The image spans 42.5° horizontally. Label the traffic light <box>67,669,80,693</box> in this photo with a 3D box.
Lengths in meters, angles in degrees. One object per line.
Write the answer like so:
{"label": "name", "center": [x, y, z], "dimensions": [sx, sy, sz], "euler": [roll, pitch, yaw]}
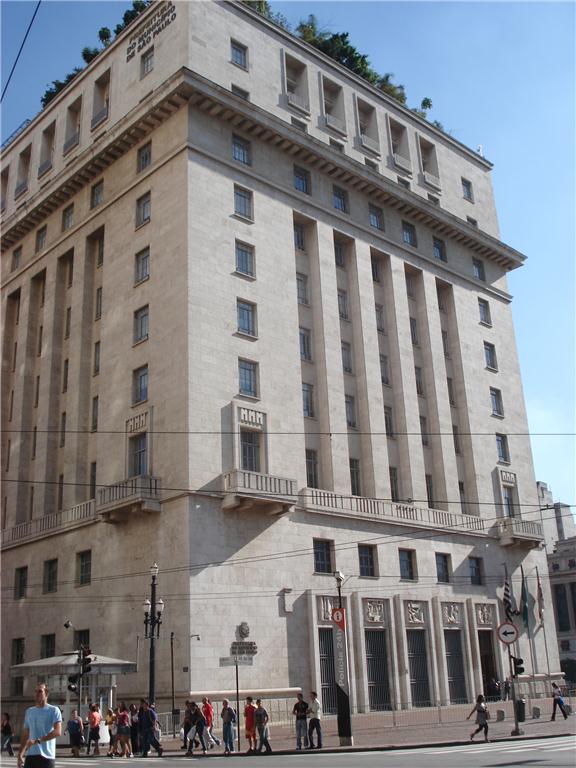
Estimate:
{"label": "traffic light", "center": [-7.399, 10.265, 25.530], "dimensions": [0.382, 0.554, 1.323], "euler": [2, -22, -14]}

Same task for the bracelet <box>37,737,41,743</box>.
{"label": "bracelet", "center": [-2.084, 2.976, 6.187], "dimensions": [0.037, 0.060, 0.033], "euler": [4, -20, -31]}

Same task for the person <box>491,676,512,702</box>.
{"label": "person", "center": [12.205, 17.455, 42.444], "dimensions": [1.178, 1.211, 1.202], "euler": [-3, -22, -1]}

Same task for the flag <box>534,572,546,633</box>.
{"label": "flag", "center": [16.372, 13.985, 48.363], "dimensions": [0.644, 3.549, 1.759], "euler": [-10, -23, 15]}

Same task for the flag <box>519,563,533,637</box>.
{"label": "flag", "center": [15.145, 13.848, 47.406], "dimensions": [0.791, 4.216, 2.385], "euler": [-11, -23, 17]}

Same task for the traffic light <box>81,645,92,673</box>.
{"label": "traffic light", "center": [-7.139, 9.727, 26.111], "dimensions": [0.340, 0.848, 1.391], "euler": [2, -22, -15]}
